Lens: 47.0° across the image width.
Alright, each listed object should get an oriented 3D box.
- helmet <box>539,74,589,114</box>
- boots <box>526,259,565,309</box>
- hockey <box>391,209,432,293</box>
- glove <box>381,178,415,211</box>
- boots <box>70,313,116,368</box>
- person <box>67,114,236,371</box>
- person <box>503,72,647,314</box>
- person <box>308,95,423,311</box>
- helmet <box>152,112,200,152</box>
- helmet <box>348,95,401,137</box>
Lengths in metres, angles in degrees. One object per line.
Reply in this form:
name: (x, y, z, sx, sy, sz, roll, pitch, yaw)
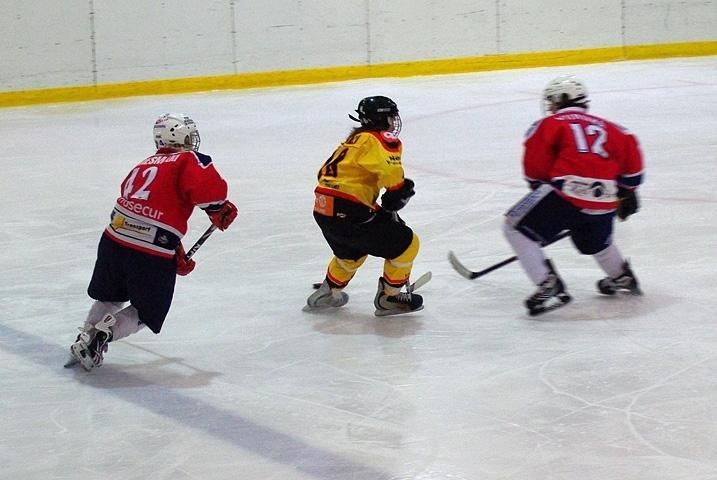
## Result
helmet: (1.346, -0.931, 5.258, 0.397, 0.221, 0.234, 0, 12, 12)
boots: (1.145, 0.286, 5.006, 0.254, 0.325, 0.134, -18, 22, -40)
hockey: (0.376, 0.097, 5.431, 0.176, 0.620, 0.148, -31, -48, 28)
glove: (0.226, -0.269, 5.081, 0.213, 0.213, 0.119, 0, 17, 11)
boots: (-1.433, 0.549, 4.466, 0.250, 0.290, 0.095, -8, 18, -14)
person: (-1.254, 0.002, 4.601, 1.043, 1.371, 0.482, -11, 19, -24)
person: (1.321, -0.185, 5.061, 0.847, 1.232, 0.424, -7, 18, -11)
person: (-0.015, -0.209, 5.179, 0.724, 1.353, 0.474, -4, 18, 2)
helmet: (-1.039, -0.606, 4.672, 0.334, 0.200, 0.225, -10, 27, -34)
helmet: (-0.036, -0.782, 5.275, 0.443, 0.241, 0.262, -11, 20, -17)
